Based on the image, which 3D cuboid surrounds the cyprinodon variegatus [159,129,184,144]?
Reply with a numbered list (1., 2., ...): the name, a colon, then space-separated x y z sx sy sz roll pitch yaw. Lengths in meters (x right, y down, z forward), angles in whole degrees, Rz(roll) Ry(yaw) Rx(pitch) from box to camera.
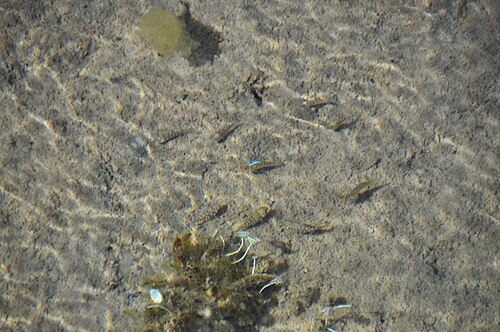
1. cyprinodon variegatus: -0.880 -0.326 8.647 0.199 0.042 0.060 -35 87 -1
